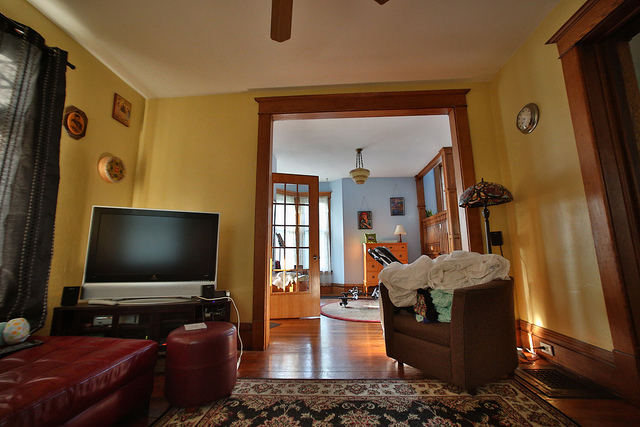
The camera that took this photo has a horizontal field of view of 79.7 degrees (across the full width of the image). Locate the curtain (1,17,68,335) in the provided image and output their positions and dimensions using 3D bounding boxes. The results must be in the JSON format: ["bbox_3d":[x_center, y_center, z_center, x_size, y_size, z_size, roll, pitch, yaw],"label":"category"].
[{"bbox_3d":[-2.740,-0.361,3.619,0.322,2.247,1.132,5,-2,-9],"label":"curtain"}]

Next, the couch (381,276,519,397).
[{"bbox_3d":[1.414,1.168,3.956,1.266,0.888,1.217,1,-6,-15],"label":"couch"}]

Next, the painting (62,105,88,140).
[{"bbox_3d":[-2.613,-0.976,4.121,0.400,0.349,0.093,-6,17,26],"label":"painting"}]

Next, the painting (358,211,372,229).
[{"bbox_3d":[1.002,0.163,8.672,0.395,0.486,0.034,1,-9,0],"label":"painting"}]

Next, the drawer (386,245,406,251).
[{"bbox_3d":[1.612,0.722,8.114,0.409,0.119,0.066,-2,10,-1],"label":"drawer"}]

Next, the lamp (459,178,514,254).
[{"bbox_3d":[1.800,0.041,4.193,0.470,0.776,0.393,-6,11,-23],"label":"lamp"}]

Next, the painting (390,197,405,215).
[{"bbox_3d":[1.759,-0.152,8.689,0.420,0.480,0.049,0,-10,1],"label":"painting"}]

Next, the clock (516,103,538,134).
[{"bbox_3d":[2.231,-1.015,4.115,0.059,0.242,0.248,-2,35,-23],"label":"clock"}]

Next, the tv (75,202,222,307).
[{"bbox_3d":[-1.905,0.478,4.138,1.193,0.851,0.121,4,-8,-24],"label":"tv"}]
